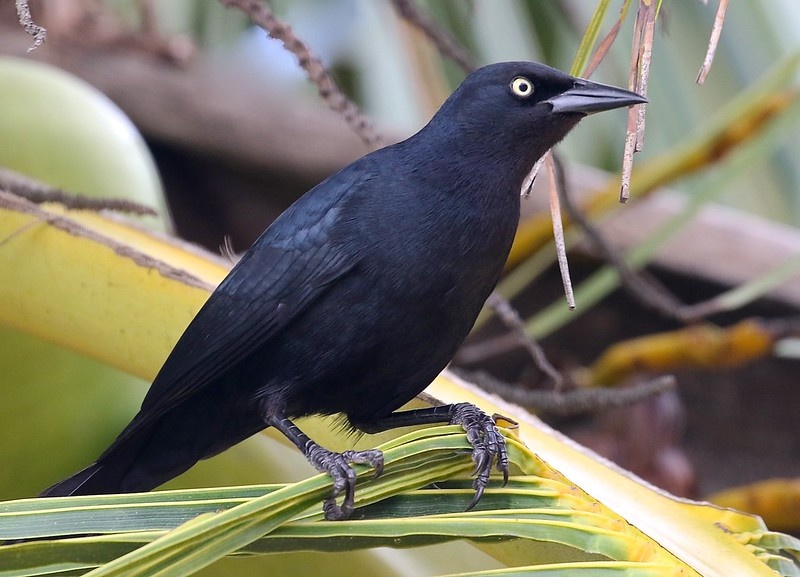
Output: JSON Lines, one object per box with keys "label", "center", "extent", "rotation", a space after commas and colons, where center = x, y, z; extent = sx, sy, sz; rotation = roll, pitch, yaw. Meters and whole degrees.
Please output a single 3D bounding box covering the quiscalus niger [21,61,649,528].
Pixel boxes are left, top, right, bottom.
{"label": "quiscalus niger", "center": [-0.031, 0.038, 1.359], "extent": [0.515, 0.754, 0.419], "rotation": [27, 23, 8]}
